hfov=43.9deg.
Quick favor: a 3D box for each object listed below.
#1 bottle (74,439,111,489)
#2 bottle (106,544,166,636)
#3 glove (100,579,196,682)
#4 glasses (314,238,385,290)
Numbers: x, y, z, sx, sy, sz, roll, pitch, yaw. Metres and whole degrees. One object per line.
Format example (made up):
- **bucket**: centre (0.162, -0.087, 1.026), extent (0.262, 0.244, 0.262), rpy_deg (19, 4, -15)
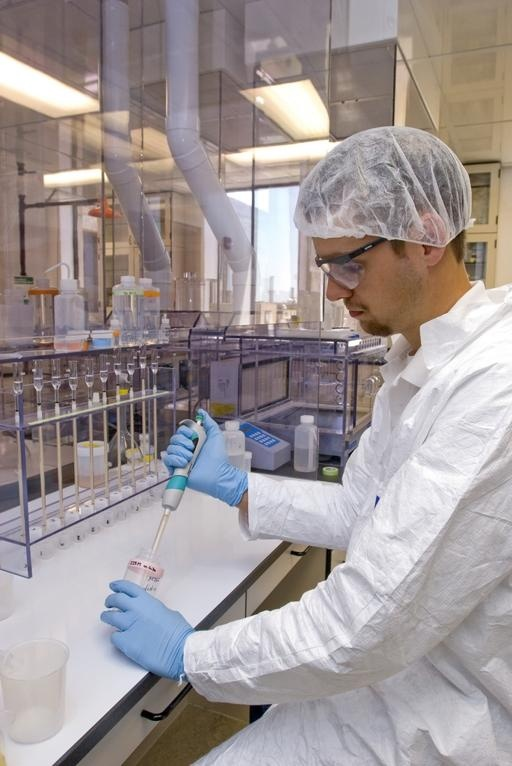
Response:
- **bottle**: centre (-0.403, 0.198, 1.510), extent (0.078, 0.087, 0.080), rpy_deg (2, -1, -28)
- **bottle**: centre (-0.193, 0.364, 1.167), extent (0.086, 0.143, 0.088), rpy_deg (22, -17, 7)
- **glove**: centre (-0.196, 0.407, 1.077), extent (0.190, 0.053, 0.108), rpy_deg (29, 54, 28)
- **glasses**: centre (0.170, -0.205, 1.156), extent (0.092, 0.028, 0.088), rpy_deg (-35, 13, -10)
